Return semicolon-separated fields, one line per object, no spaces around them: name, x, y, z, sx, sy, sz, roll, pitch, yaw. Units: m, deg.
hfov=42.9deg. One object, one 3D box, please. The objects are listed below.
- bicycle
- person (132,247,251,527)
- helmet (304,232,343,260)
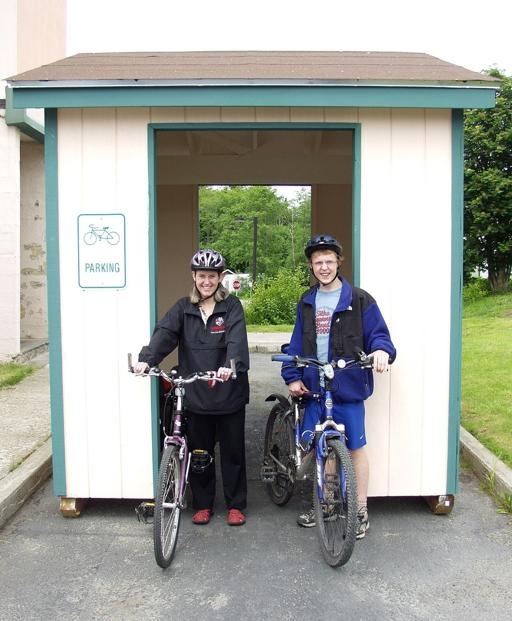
bicycle;0.033;0.771;3.667;1.226;1.138;1.453;-1;6;-10
person;-0.291;0.454;3.648;0.599;1.631;0.788;1;1;39
helmet;0.370;-0.349;3.592;0.207;0.135;0.222;0;6;6
